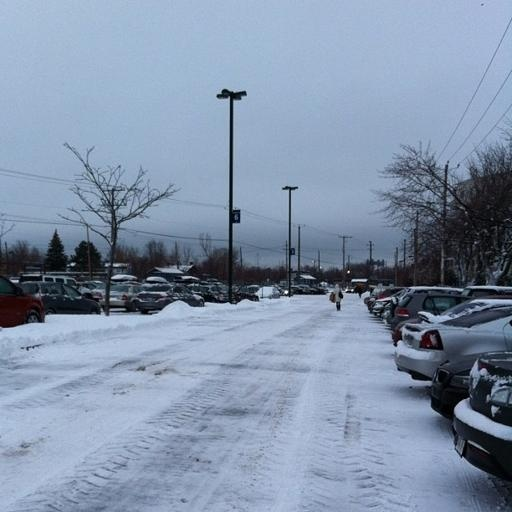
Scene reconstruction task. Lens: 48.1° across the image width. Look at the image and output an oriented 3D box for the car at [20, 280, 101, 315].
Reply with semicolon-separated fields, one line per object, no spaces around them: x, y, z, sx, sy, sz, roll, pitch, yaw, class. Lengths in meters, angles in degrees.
-6.153;1.292;17.793;0.878;0.801;1.895;-1;-4;36;car
